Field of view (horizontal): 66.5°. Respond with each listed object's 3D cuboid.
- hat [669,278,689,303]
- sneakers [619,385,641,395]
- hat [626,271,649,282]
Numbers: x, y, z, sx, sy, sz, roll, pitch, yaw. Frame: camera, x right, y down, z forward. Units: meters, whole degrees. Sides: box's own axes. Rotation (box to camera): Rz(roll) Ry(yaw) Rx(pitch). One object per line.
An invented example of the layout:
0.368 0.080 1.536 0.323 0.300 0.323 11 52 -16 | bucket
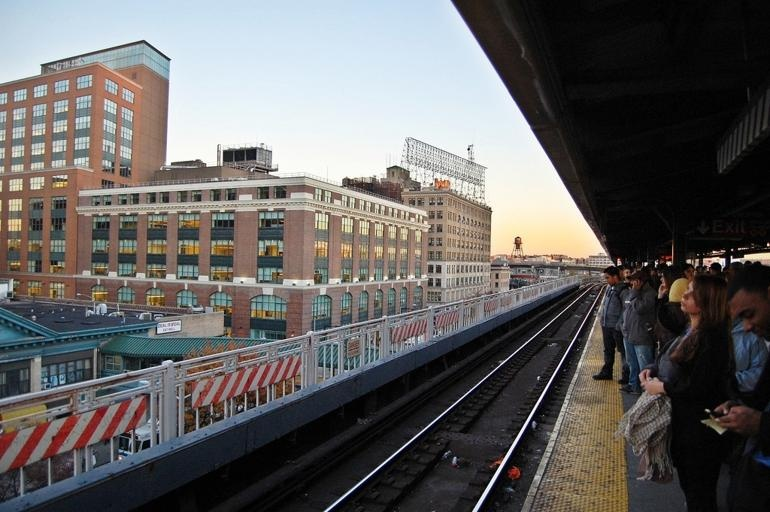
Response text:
4.605 0.534 9.209 0.149 0.391 0.290 17 5 -8 | hat
5.164 2.823 12.367 0.140 0.164 0.384 2 0 -15 | sneakers
5.076 0.420 11.689 0.280 0.140 0.200 13 2 2 | hat
